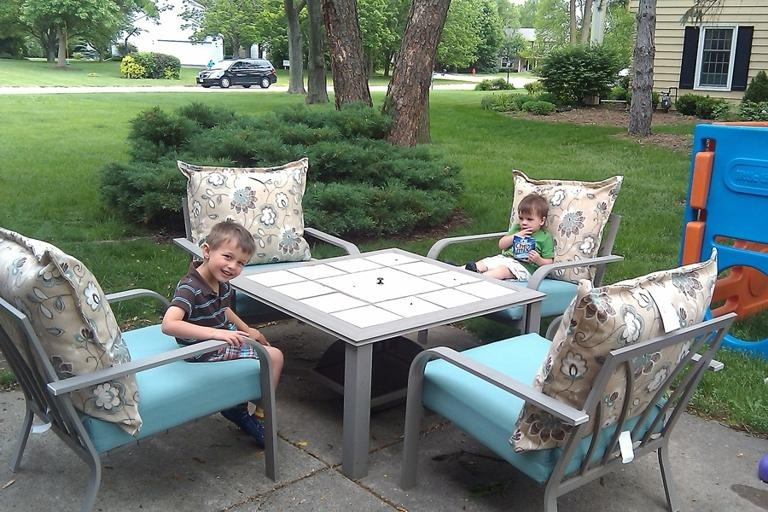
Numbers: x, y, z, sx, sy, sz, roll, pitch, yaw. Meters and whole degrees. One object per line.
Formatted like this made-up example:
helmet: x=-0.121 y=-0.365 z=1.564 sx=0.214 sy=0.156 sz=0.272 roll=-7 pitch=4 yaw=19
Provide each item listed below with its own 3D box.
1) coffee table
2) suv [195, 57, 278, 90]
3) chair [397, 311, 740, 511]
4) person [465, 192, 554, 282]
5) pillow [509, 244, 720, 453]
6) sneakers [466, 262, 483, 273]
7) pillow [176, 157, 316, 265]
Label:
coffee table: x=0.013 y=0.321 z=4.357 sx=1.639 sy=0.938 sz=1.621 roll=-11 pitch=23 yaw=-35
suv: x=-7.208 y=-8.843 z=29.691 sx=3.228 sy=1.173 sz=1.750 roll=-7 pitch=17 yaw=-36
chair: x=0.931 y=0.565 z=3.658 sx=1.337 sy=1.295 sz=1.540 roll=-8 pitch=15 yaw=-33
person: x=1.106 y=-0.109 z=5.339 sx=0.934 sy=0.720 sz=0.562 roll=-15 pitch=21 yaw=-29
pillow: x=1.232 y=0.553 z=3.231 sx=1.102 sy=1.031 sz=0.331 roll=-7 pitch=21 yaw=-23
sneakers: x=0.801 y=0.100 z=5.359 sx=0.124 sy=0.060 sz=0.091 roll=26 pitch=-7 yaw=-20
pillow: x=-1.233 y=-0.385 z=5.387 sx=1.163 sy=0.938 sz=0.398 roll=-7 pitch=12 yaw=-29
